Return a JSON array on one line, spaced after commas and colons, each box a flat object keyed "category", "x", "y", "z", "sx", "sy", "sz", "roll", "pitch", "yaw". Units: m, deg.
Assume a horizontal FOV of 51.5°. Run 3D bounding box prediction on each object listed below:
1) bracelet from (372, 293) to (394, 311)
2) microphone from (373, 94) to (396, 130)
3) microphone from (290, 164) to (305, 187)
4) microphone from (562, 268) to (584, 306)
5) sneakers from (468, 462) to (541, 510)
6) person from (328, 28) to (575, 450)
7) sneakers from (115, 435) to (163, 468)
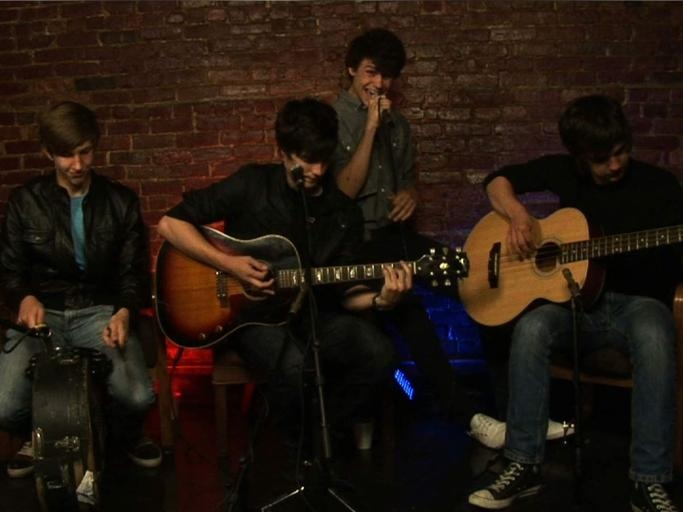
[{"category": "bracelet", "x": 0.188, "y": 0.206, "z": 3.305, "sx": 0.069, "sy": 0.083, "sz": 0.124, "roll": -7, "pitch": 14, "yaw": -25}, {"category": "microphone", "x": 0.242, "y": -0.794, "z": 3.964, "sx": 0.104, "sy": 0.208, "sz": 0.034, "roll": -23, "pitch": 3, "yaw": 6}, {"category": "microphone", "x": -0.190, "y": -0.336, "z": 2.994, "sx": 0.055, "sy": 0.091, "sz": 0.027, "roll": -11, "pitch": -5, "yaw": 13}, {"category": "microphone", "x": 1.008, "y": 0.121, "z": 3.127, "sx": 0.056, "sy": 0.233, "sz": 0.064, "roll": -14, "pitch": -37, "yaw": 12}, {"category": "sneakers", "x": 0.739, "y": 1.028, "z": 3.250, "sx": 0.424, "sy": 0.193, "sz": 0.142, "roll": -2, "pitch": -4, "yaw": -23}, {"category": "person", "x": 0.331, "y": 0.092, "z": 4.074, "sx": 0.982, "sy": 2.503, "sz": 0.344, "roll": -10, "pitch": -14, "yaw": 4}, {"category": "sneakers", "x": -1.016, "y": 0.975, "z": 3.571, "sx": 0.215, "sy": 0.111, "sz": 0.189, "roll": -4, "pitch": 13, "yaw": -12}]
